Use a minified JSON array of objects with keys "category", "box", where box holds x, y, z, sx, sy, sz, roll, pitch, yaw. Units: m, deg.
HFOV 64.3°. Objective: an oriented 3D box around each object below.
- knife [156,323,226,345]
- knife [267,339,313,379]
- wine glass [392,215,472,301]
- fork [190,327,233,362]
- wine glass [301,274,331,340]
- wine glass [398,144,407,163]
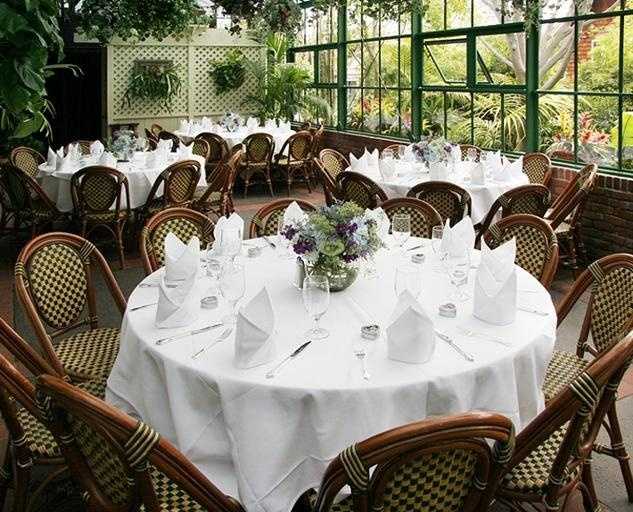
[{"category":"knife","box":[-0.472,0.292,1.881,0.184,0.011,0.029,-12,47,-39]},{"category":"knife","box":[-0.088,0.312,1.726,0.045,0.025,0.313,5,18,22]},{"category":"wine glass","box":[0.552,-0.031,2.276,0.213,0.360,0.798,6,7,19]},{"category":"fork","box":[-0.368,0.298,1.834,0.038,0.040,0.306,13,24,14]},{"category":"wine glass","box":[0.004,0.164,1.871,0.092,0.248,0.266,2,14,1]},{"category":"wine glass","box":[0.989,-1.224,5.888,0.110,0.238,0.126,-2,8,-13]}]
